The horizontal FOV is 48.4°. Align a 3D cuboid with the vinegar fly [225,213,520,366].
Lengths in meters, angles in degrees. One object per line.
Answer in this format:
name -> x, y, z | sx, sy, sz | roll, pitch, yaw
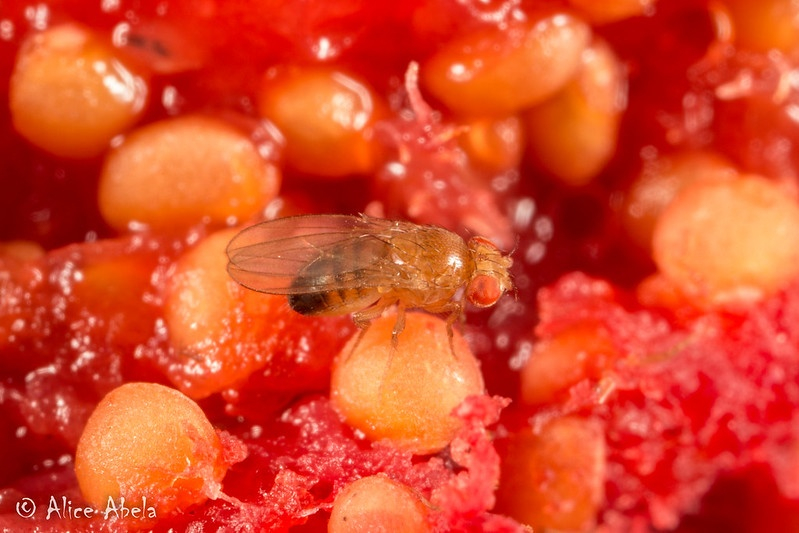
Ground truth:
vinegar fly -> -0.050, 0.019, 1.588 | 0.506, 0.106, 0.202 | 3, 79, -3
